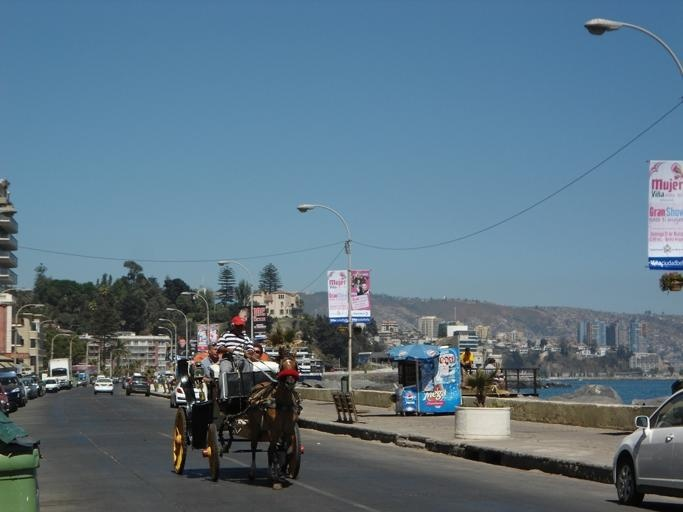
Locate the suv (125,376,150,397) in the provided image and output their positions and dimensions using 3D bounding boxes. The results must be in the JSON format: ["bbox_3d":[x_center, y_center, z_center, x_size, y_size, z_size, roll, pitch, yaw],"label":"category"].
[{"bbox_3d":[-16.365,10.370,81.616,1.226,1.151,2.800,1,-2,-11],"label":"suv"}]

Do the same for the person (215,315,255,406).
[{"bbox_3d":[-2.663,2.449,25.025,0.694,2.417,0.495,-1,-5,-13],"label":"person"}]

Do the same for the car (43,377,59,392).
[{"bbox_3d":[-29.162,12.825,101.925,1.285,1.236,2.307,1,-8,-11],"label":"car"}]

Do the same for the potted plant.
[{"bbox_3d":[4.534,4.820,32.376,1.703,2.067,1.804,0,-6,1],"label":"potted plant"}]

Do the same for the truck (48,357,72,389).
[{"bbox_3d":[-30.493,12.448,108.715,1.736,2.698,4.689,1,-8,-7],"label":"truck"}]
